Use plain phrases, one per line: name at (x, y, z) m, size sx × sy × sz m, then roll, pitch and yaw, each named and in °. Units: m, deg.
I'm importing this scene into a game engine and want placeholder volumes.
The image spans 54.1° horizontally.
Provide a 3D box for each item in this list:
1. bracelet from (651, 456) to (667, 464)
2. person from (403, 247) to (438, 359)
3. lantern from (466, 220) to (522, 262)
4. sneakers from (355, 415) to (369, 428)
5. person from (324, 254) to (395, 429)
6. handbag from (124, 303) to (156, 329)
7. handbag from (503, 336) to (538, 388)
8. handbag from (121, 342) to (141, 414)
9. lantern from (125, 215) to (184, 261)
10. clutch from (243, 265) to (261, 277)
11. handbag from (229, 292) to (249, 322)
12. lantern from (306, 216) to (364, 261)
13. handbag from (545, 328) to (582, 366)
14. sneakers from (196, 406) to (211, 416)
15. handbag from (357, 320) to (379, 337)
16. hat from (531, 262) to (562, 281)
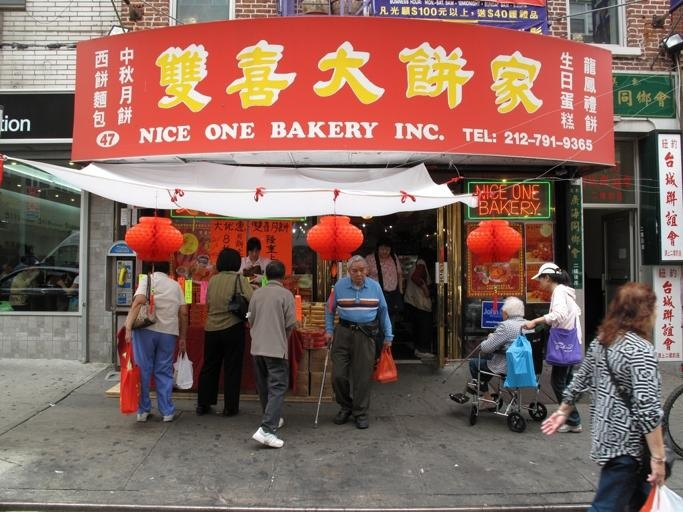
bracelet at (2.888, 1.856, 6.102) m, size 0.082 × 0.030 × 0.074 m, roll -29°, pitch -55°, yaw 23°
person at (1.430, 0.936, 12.362) m, size 0.564 × 1.804 × 1.109 m, roll 2°, pitch 11°, yaw 6°
lantern at (2.129, -0.210, 9.326) m, size 0.770 × 0.570 × 0.770 m, roll -2°, pitch 2°, yaw 16°
sneakers at (0.265, 2.164, 8.871) m, size 0.193 × 0.144 × 0.286 m, roll 1°, pitch 11°, yaw 0°
person at (0.220, 1.111, 9.005) m, size 0.900 × 2.208 × 0.944 m, roll 1°, pitch 11°, yaw 2°
handbag at (-2.621, 0.784, 8.760) m, size 0.424 × 0.413 × 0.216 m, roll -7°, pitch -14°, yaw 6°
handbag at (2.262, 1.318, 8.553) m, size 0.445 × 0.616 × 0.377 m, roll -4°, pitch 6°, yaw 12°
handbag at (-2.730, 1.550, 8.660) m, size 0.239 × 0.864 × 0.457 m, roll -3°, pitch 12°, yaw -17°
lantern at (-2.451, -0.234, 8.789) m, size 0.619 × 0.437 × 0.625 m, roll 1°, pitch 3°, yaw 26°
clutch at (-1.445, 0.235, 10.782) m, size 0.165 × 0.128 × 0.221 m, roll -4°, pitch -1°, yaw 34°
handbag at (-1.371, 0.653, 8.928) m, size 0.192 × 0.348 × 0.366 m, roll -3°, pitch 4°, yaw 11°
lantern at (-0.083, -0.244, 8.918) m, size 0.629 × 0.460 × 0.618 m, roll -1°, pitch 1°, yaw -41°
handbag at (2.887, 1.177, 8.702) m, size 0.509 × 0.536 × 0.273 m, roll 0°, pitch -13°, yaw 1°
sneakers at (-1.876, 2.104, 9.178) m, size 0.090 × 0.107 × 0.237 m, roll 1°, pitch 4°, yaw 4°
handbag at (0.359, 0.956, 8.940) m, size 0.233 × 0.156 × 0.196 m, roll -1°, pitch -3°, yaw 43°
hat at (2.719, 0.190, 9.045) m, size 0.471 × 0.245 × 0.329 m, roll -1°, pitch -4°, yaw 16°
